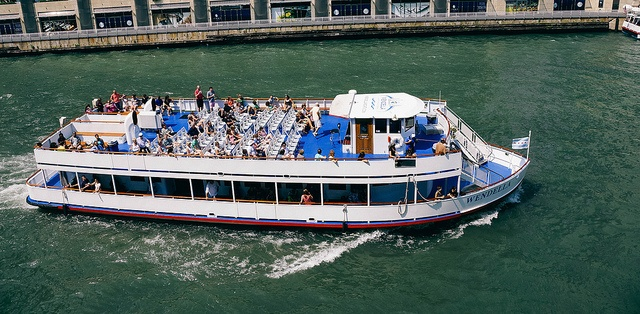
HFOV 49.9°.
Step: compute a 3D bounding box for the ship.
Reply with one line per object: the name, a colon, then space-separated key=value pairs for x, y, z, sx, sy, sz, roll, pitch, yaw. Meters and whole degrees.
ship: x=-6.395 y=-0.299 z=105.129 sx=75.010 sy=18.865 sz=14.603 roll=0 pitch=17 yaw=5
